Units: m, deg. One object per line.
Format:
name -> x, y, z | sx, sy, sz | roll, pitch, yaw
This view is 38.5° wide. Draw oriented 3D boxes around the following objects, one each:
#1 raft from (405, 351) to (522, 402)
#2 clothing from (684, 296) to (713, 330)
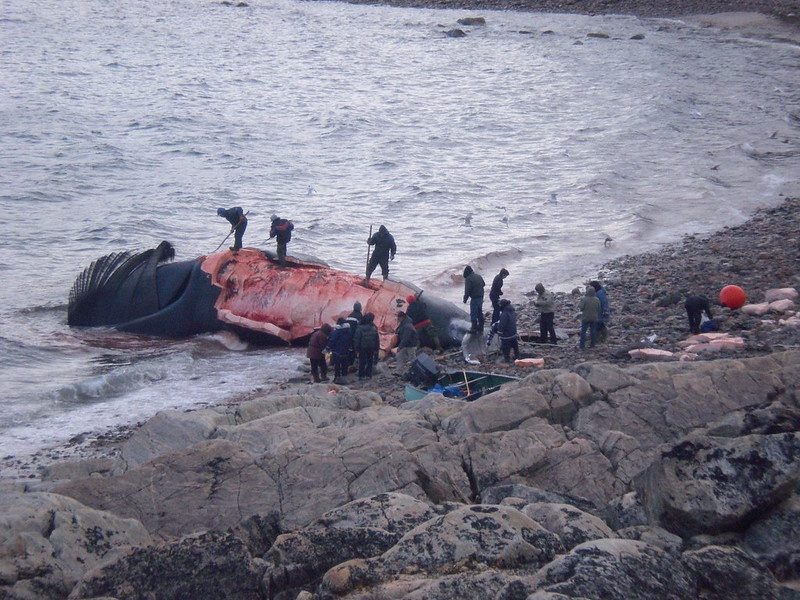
raft -> 1.964, 2.587, 35.086 | 3.762, 1.044, 1.712 | 3, 13, 10
clothing -> 9.455, 0.371, 36.268 | 0.684, 1.154, 1.217 | 13, 21, 36
